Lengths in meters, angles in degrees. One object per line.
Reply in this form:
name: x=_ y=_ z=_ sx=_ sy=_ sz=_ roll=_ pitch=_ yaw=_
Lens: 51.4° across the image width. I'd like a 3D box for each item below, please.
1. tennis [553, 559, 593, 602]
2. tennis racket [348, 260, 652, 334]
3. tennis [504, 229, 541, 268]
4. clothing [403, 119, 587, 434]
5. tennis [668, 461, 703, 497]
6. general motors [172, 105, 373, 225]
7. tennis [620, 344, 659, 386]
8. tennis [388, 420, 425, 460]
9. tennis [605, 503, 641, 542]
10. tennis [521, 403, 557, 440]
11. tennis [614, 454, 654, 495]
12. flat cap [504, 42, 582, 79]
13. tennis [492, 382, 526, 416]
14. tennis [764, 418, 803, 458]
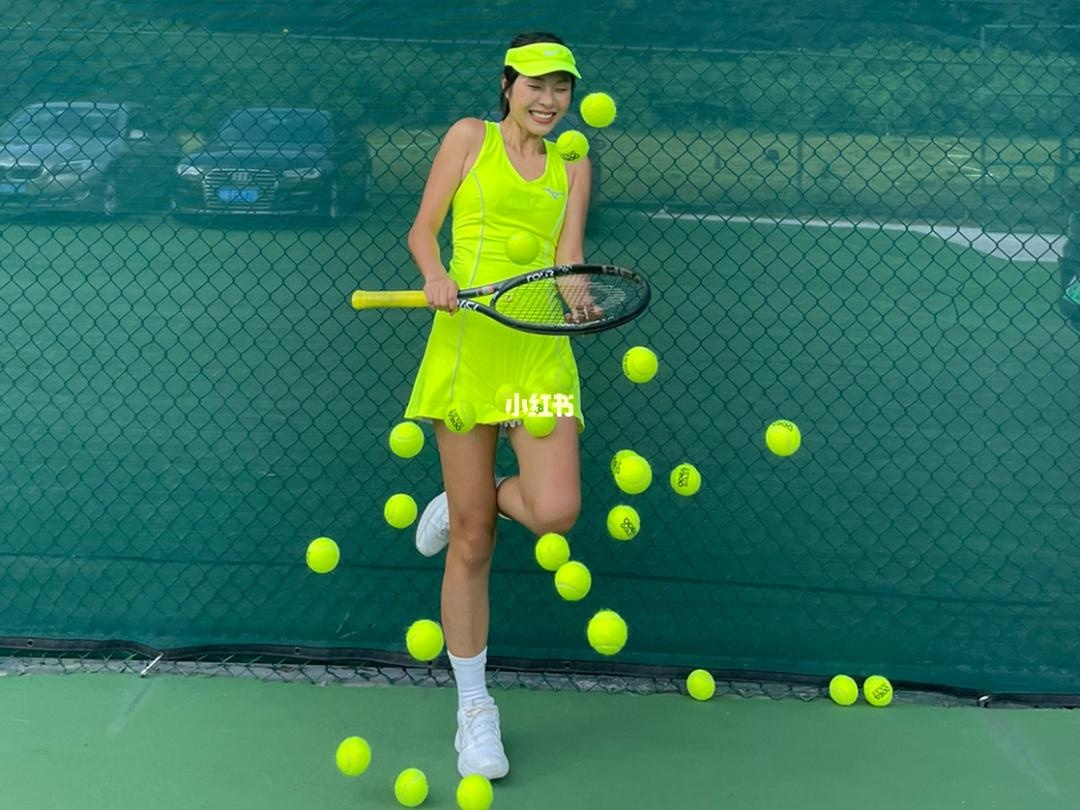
tennis: x=0.122 y=0.659 z=4.252 sx=0.165 sy=0.162 sz=0.158 roll=8 pitch=84 yaw=-36
tennis racket: x=-0.109 y=-0.372 z=4.017 sx=1.006 sy=0.079 sz=0.387 roll=-2 pitch=67 yaw=3
tennis: x=-0.069 y=-0.562 z=3.995 sx=0.115 sy=0.127 sz=0.122 roll=1 pitch=67 yaw=6
clothing: x=-0.105 y=-0.458 z=4.209 sx=0.683 sy=0.437 sz=1.313 roll=8 pitch=76 yaw=-16
tennis: x=0.588 y=0.306 z=4.630 sx=0.135 sy=0.133 sz=0.150 roll=-8 pitch=109 yaw=-35
general motors: x=-1.159 y=-1.033 z=4.815 sx=0.455 sy=0.779 sz=0.291 roll=2 pitch=105 yaw=1
tennis: x=0.367 y=-0.148 z=4.182 sx=0.136 sy=0.155 sz=0.150 roll=-7 pitch=89 yaw=-5
tennis: x=-0.511 y=0.138 z=4.376 sx=0.147 sy=0.148 sz=0.165 roll=-9 pitch=81 yaw=43
tennis: x=0.316 y=0.461 z=4.383 sx=0.156 sy=0.151 sz=0.150 roll=2 pitch=118 yaw=4
tennis: x=-0.002 y=0.058 z=4.012 sx=0.117 sy=0.118 sz=0.129 roll=-3 pitch=98 yaw=5
tennis: x=0.329 y=0.265 z=4.272 sx=0.147 sy=0.152 sz=0.168 roll=2 pitch=82 yaw=-37
flat cap: x=-0.003 y=-1.192 z=3.899 sx=0.234 sy=0.091 sz=0.142 roll=-9 pitch=66 yaw=1
tennis: x=-0.118 y=-0.016 z=3.974 sx=0.115 sy=0.031 sz=0.102 roll=-9 pitch=81 yaw=38
tennis: x=0.964 y=0.142 z=4.514 sx=0.162 sy=0.158 sz=0.178 roll=-3 pitch=70 yaw=4
